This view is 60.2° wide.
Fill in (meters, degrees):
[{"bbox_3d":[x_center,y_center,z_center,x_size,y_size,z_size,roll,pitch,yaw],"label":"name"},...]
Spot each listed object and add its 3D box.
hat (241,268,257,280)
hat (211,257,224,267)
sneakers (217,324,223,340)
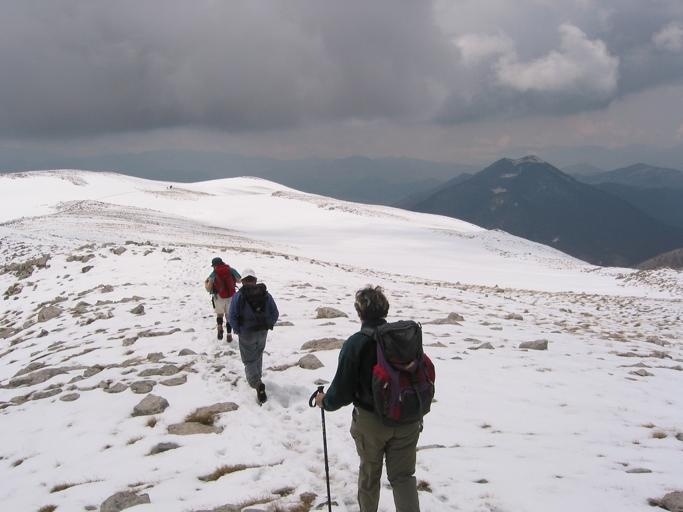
[{"bbox_3d":[-2.911,0.556,18.413,0.438,0.217,0.480,0,-2,-9],"label":"hat"},{"bbox_3d":[-4.053,0.174,19.142,0.313,0.240,0.418,-5,7,-24],"label":"hat"},{"bbox_3d":[-4.015,2.526,19.517,0.174,0.467,0.195,0,-4,-10],"label":"sneakers"}]
